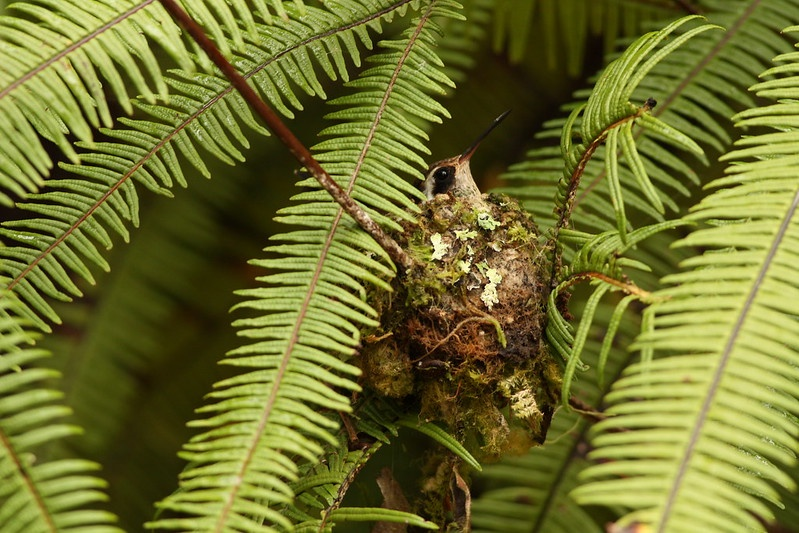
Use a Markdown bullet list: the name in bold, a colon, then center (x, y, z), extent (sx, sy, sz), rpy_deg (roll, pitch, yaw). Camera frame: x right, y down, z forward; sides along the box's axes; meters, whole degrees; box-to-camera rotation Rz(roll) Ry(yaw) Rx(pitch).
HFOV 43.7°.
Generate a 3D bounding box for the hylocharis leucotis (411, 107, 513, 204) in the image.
- **hylocharis leucotis**: center (0.194, -0.300, 2.880), extent (0.164, 0.221, 0.365), rpy_deg (20, -19, -23)

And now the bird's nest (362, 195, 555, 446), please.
- **bird's nest**: center (0.175, 0.142, 2.539), extent (0.519, 0.592, 0.217), rpy_deg (4, -6, -7)
